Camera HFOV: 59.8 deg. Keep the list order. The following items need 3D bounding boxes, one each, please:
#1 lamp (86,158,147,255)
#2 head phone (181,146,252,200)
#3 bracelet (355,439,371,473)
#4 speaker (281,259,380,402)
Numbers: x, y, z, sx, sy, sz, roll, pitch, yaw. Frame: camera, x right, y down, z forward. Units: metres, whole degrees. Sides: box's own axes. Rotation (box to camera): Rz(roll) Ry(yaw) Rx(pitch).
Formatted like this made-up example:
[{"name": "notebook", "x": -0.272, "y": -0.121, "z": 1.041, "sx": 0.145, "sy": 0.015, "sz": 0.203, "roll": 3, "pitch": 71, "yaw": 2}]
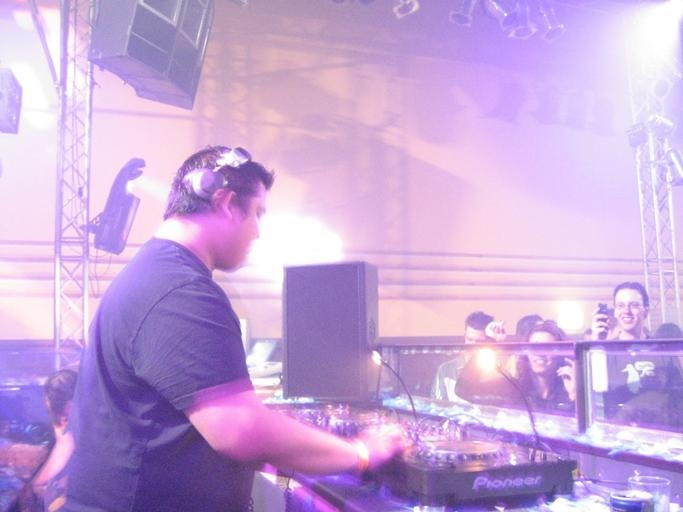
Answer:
[{"name": "lamp", "x": -2.198, "y": -0.547, "z": 5.760, "sx": 0.380, "sy": 1.019, "sz": 0.235, "roll": 10, "pitch": 27, "yaw": -35}, {"name": "head phone", "x": -0.423, "y": -0.293, "z": 2.037, "sx": 0.209, "sy": 0.153, "sz": 0.053, "roll": -37, "pitch": -21, "yaw": -8}, {"name": "bracelet", "x": 0.067, "y": 0.665, "z": 1.974, "sx": 0.029, "sy": 0.106, "sz": 0.097, "roll": -2, "pitch": -7, "yaw": 5}, {"name": "speaker", "x": -0.106, "y": 0.318, "z": 3.165, "sx": 0.470, "sy": 0.793, "sz": 0.391, "roll": -2, "pitch": 21, "yaw": -3}]
